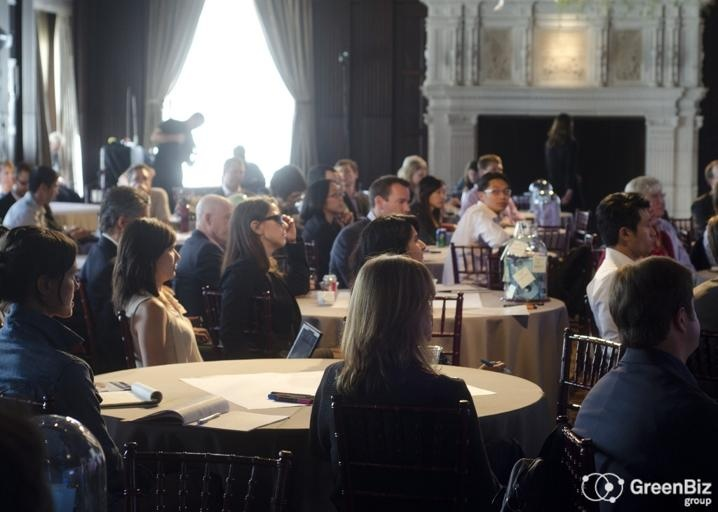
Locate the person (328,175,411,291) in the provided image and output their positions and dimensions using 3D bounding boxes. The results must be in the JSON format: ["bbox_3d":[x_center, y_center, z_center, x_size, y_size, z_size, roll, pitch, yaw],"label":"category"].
[{"bbox_3d":[0.098,-0.080,5.197,0.498,0.979,0.531,13,8,38],"label":"person"}]

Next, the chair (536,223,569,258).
[{"bbox_3d":[1.870,-0.135,6.762,0.286,0.282,0.765,0,2,12],"label":"chair"}]

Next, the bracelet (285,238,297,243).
[{"bbox_3d":[-0.413,-0.087,4.375,0.040,0.033,0.043,0,6,19],"label":"bracelet"}]

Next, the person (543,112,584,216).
[{"bbox_3d":[2.829,-1.256,9.783,0.465,1.243,1.167,0,3,17],"label":"person"}]

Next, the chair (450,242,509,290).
[{"bbox_3d":[0.830,0.078,4.878,0.299,0.519,0.309,1,4,22],"label":"chair"}]

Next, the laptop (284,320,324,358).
[{"bbox_3d":[-0.263,0.393,3.305,0.015,0.164,0.117,7,23,-39],"label":"laptop"}]

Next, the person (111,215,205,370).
[{"bbox_3d":[-0.913,0.186,3.200,0.305,0.888,0.330,-9,31,-14],"label":"person"}]

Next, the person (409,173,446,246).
[{"bbox_3d":[0.691,-0.358,6.775,0.371,0.828,0.370,-8,16,-23],"label":"person"}]

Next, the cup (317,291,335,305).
[{"bbox_3d":[-0.190,0.249,4.144,0.077,0.053,0.082,2,8,0],"label":"cup"}]
